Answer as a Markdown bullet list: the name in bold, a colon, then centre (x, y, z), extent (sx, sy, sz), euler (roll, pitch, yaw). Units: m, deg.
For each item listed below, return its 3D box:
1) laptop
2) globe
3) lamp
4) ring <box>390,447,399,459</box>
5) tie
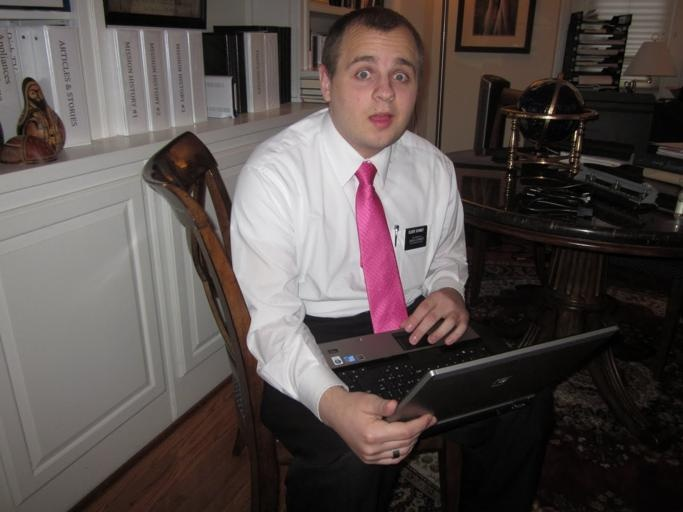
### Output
- **laptop**: centre (0.317, 0.274, 1.196), extent (0.659, 0.301, 0.375), euler (-8, 21, -20)
- **globe**: centre (0.865, -0.546, 2.007), extent (0.376, 0.379, 0.387), euler (11, 25, 22)
- **lamp**: centre (3.187, -2.025, 4.864), extent (0.444, 0.392, 0.614), euler (10, 22, 27)
- **ring**: centre (0.120, 0.435, 1.047), extent (0.019, 0.022, 0.025), euler (3, -17, 3)
- **tie**: centre (0.092, -0.007, 1.333), extent (0.151, 0.487, 0.133), euler (-8, 23, -21)
